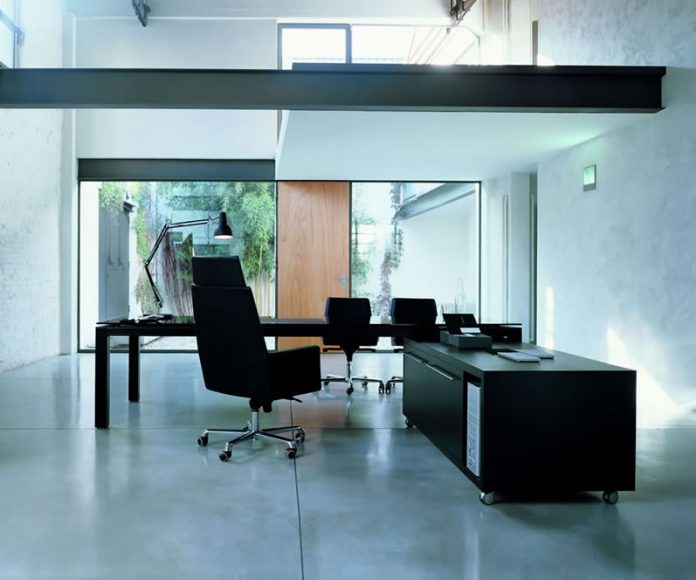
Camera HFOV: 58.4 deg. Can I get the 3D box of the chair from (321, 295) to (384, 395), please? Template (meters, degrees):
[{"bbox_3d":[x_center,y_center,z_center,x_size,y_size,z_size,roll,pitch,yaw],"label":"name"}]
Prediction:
[{"bbox_3d":[0.012,0.564,6.659,0.868,1.307,0.858,0,-2,0],"label":"chair"}]

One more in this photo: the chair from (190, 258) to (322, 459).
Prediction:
[{"bbox_3d":[-0.660,0.476,4.616,0.905,1.451,0.929,0,-3,-20],"label":"chair"}]
